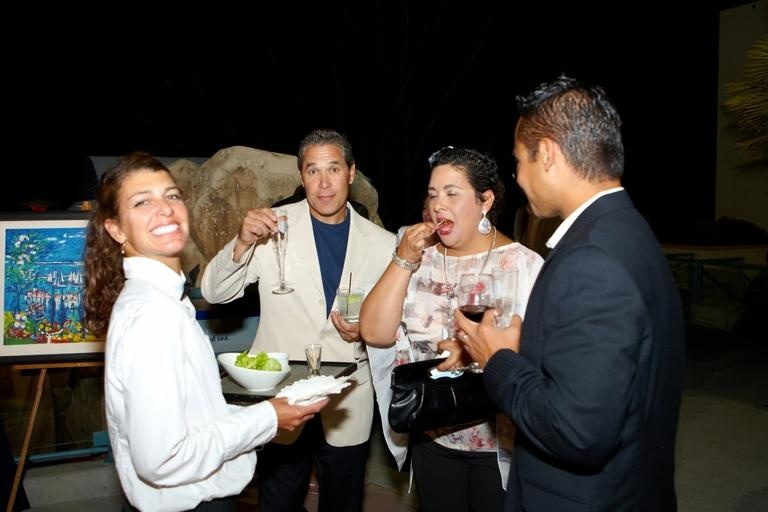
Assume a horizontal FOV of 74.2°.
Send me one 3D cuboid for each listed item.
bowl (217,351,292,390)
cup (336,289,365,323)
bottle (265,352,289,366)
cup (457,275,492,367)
[{"bbox_3d":[-0.680,0.634,2.697,0.240,0.096,0.233,3,-2,0],"label":"bowl"},{"bbox_3d":[-0.209,0.312,3.098,0.164,0.181,0.164,4,-1,0],"label":"cup"},{"bbox_3d":[-0.592,0.565,2.850,0.090,0.062,0.089,3,4,0],"label":"bottle"},{"bbox_3d":[0.481,0.337,2.652,0.191,0.457,0.184,-2,-3,0],"label":"cup"}]
